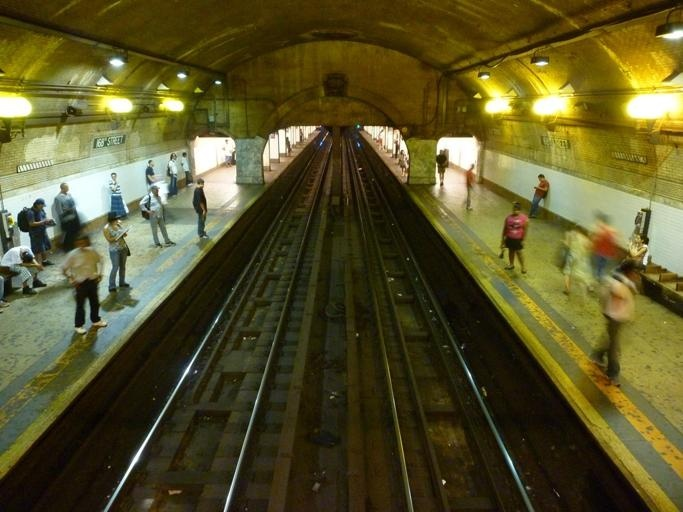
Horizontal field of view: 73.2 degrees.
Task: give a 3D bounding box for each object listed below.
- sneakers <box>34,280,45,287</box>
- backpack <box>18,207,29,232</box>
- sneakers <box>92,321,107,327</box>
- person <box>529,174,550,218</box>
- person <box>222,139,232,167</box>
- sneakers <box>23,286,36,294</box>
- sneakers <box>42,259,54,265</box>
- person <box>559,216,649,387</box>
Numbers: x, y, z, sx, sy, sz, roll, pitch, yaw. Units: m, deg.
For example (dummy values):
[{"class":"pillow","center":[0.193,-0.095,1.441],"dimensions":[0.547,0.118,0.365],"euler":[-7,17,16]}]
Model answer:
[{"class":"sneakers","center":[-6.851,0.615,10.423],"dimensions":[0.281,0.158,0.091],"euler":[-3,31,-34]},{"class":"backpack","center":[-7.585,-0.852,10.989],"dimensions":[0.267,0.549,0.328],"euler":[-8,18,-33]},{"class":"sneakers","center":[-4.662,1.315,8.912],"dimensions":[0.277,0.114,0.113],"euler":[1,24,-27]},{"class":"person","center":[6.911,-2.084,16.086],"dimensions":[0.434,1.519,0.773],"euler":[4,15,8]},{"class":"person","center":[-7.375,-6.709,29.721],"dimensions":[0.513,1.667,0.647],"euler":[-3,16,-15]},{"class":"sneakers","center":[-6.828,0.748,10.114],"dimensions":[0.252,0.151,0.131],"euler":[-3,20,-15]},{"class":"sneakers","center":[-7.497,0.142,11.740],"dimensions":[0.264,0.086,0.174],"euler":[-3,-27,-39]},{"class":"person","center":[4.977,0.928,8.782],"dimensions":[1.158,3.905,1.076],"euler":[23,45,37]}]
